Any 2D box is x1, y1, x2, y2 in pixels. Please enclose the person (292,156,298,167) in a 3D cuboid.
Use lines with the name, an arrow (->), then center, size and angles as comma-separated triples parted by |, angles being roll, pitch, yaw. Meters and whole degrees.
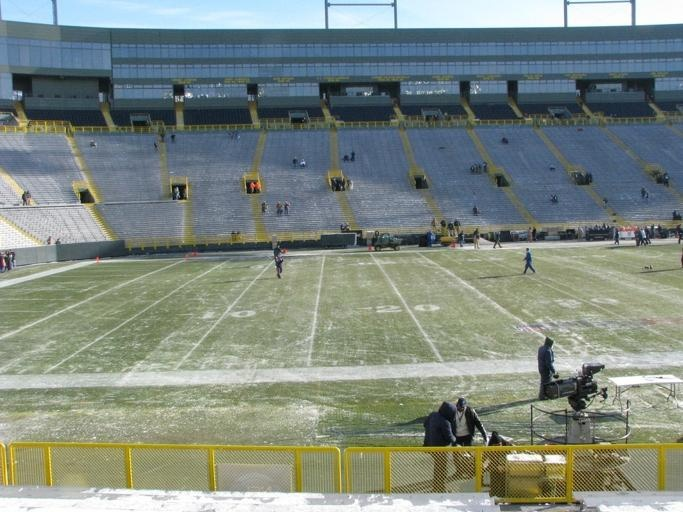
person -> -4.527, -9.238, 68.148 | 0.686, 0.974, 1.498 | -3, 3, -4

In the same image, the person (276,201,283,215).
person -> -5.440, -4.144, 60.880 | 0.632, 1.127, 1.034 | -3, 4, -5

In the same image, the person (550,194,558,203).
person -> 19.294, -5.280, 63.583 | 1.064, 0.822, 0.333 | 5, -40, 24

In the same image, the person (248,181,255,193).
person -> -8.188, -6.254, 63.283 | 0.630, 1.076, 0.911 | -4, 4, -14

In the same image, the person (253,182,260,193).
person -> -7.683, -6.235, 63.413 | 0.791, 0.745, 0.401 | 1, -9, -9

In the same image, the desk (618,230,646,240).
desk -> 22.336, -1.710, 54.837 | 1.126, 0.802, 0.607 | -2, 4, 10

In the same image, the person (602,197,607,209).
person -> 23.801, -4.855, 63.230 | 0.477, 1.061, 1.951 | -2, 3, 20

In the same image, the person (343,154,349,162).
person -> 0.447, -9.875, 69.442 | 0.605, 0.839, 1.183 | -3, 3, 1

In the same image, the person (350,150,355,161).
person -> 1.088, -10.026, 69.581 | 0.562, 1.119, 1.438 | -3, 4, 1

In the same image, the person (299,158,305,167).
person -> -3.833, -9.076, 67.959 | 0.601, 0.818, 1.248 | -3, 3, -2

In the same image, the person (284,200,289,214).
person -> -4.826, -4.226, 61.206 | 0.498, 1.145, 1.460 | -3, 4, -3

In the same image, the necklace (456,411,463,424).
necklace -> 2.601, 3.584, 15.477 | 0.172, 0.220, 0.065 | 11, 1, 25

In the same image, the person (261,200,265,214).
person -> -6.791, -4.269, 61.003 | 0.453, 1.023, 1.350 | -3, 4, -3
